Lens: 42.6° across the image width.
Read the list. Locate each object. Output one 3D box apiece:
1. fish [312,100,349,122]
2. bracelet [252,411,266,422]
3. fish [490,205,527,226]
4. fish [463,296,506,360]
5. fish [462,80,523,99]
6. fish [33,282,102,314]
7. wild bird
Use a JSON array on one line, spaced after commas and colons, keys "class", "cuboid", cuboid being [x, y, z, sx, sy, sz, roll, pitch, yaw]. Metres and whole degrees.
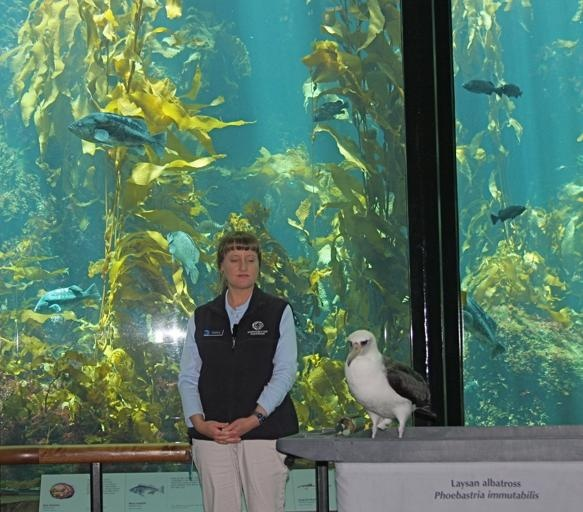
[{"class": "fish", "cuboid": [0.222, -0.852, 4.403, 0.219, 0.105, 0.036, -4, 2, -24]}, {"class": "bracelet", "cuboid": [-0.148, 0.727, 3.361, 0.027, 0.052, 0.039, -41, 45, -12]}, {"class": "fish", "cuboid": [1.206, -0.235, 4.275, 0.199, 0.081, 0.034, -4, 1, -10]}, {"class": "fish", "cuboid": [1.053, 0.425, 4.203, 0.128, 0.327, 0.094, -26, -15, -50]}, {"class": "fish", "cuboid": [1.152, -0.969, 4.337, 0.312, 0.110, 0.062, 6, -12, 9]}, {"class": "fish", "cuboid": [-1.267, 0.247, 4.275, 0.358, 0.163, 0.043, -4, 1, 5]}, {"class": "wild bird", "cuboid": [0.344, 0.509, 2.987, 0.479, 0.443, 0.249, 4, -13, -42]}]
